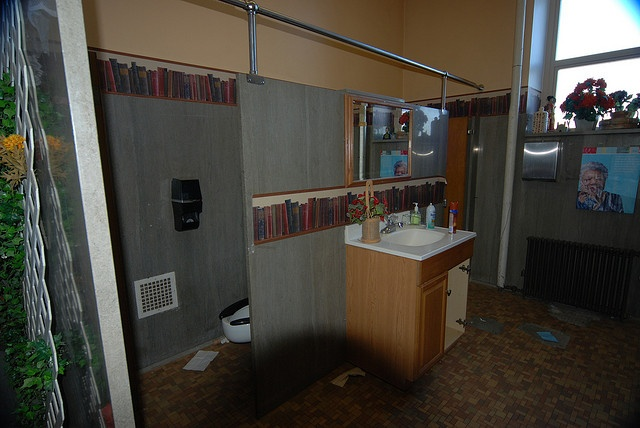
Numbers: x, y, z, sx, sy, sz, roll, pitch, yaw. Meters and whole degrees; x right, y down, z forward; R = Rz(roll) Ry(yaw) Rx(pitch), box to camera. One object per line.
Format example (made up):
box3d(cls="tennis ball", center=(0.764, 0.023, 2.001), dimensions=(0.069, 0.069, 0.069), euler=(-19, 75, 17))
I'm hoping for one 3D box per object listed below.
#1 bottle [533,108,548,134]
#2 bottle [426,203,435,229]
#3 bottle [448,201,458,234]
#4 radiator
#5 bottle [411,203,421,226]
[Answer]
box3d(cls="bottle", center=(2.316, -0.981, 4.476), dimensions=(0.148, 0.262, 0.153), euler=(-2, 12, 0))
box3d(cls="bottle", center=(1.017, 0.020, 3.939), dimensions=(0.070, 0.201, 0.116), euler=(0, 13, 11))
box3d(cls="bottle", center=(1.181, 0.016, 3.804), dimensions=(0.068, 0.273, 0.208), euler=(3, 13, 22))
box3d(cls="radiator", center=(2.646, 0.683, 4.294), dimensions=(0.761, 0.666, 0.116), euler=(7, 9, 37))
box3d(cls="bottle", center=(0.895, -0.002, 4.041), dimensions=(0.087, 0.194, 0.070), euler=(0, 13, 10))
